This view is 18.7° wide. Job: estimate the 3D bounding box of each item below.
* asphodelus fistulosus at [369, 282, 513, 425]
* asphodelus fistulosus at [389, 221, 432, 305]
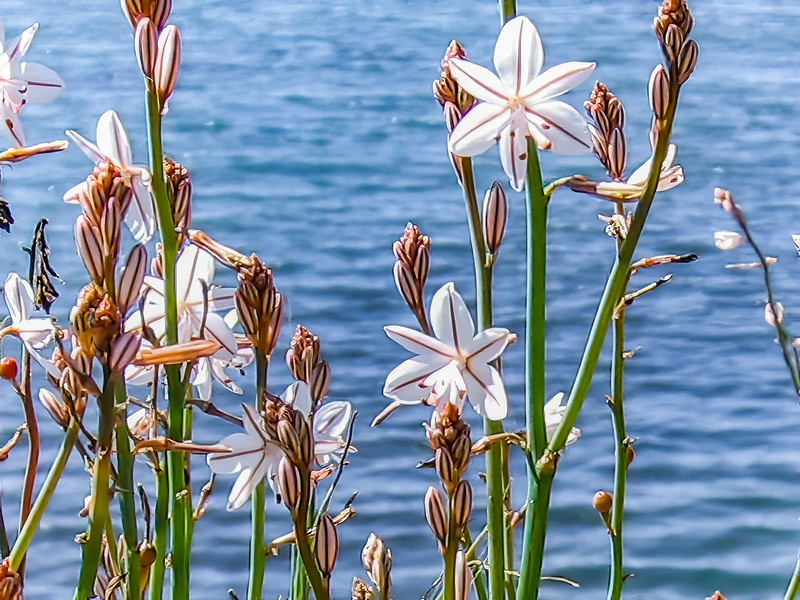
[{"bbox_3d":[0.144,0.148,7.098,0.376,0.360,0.147,1,23,6],"label":"asphodelus fistulosus"},{"bbox_3d":[0.025,-0.115,7.157,0.067,0.282,0.078,-19,24,-35],"label":"asphodelus fistulosus"}]
